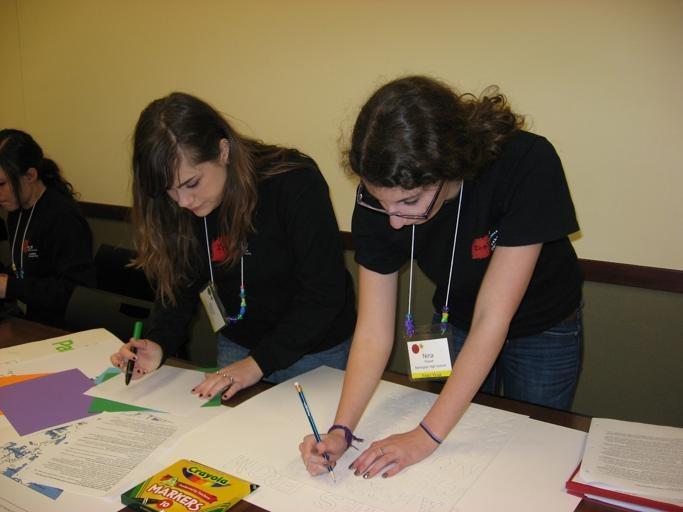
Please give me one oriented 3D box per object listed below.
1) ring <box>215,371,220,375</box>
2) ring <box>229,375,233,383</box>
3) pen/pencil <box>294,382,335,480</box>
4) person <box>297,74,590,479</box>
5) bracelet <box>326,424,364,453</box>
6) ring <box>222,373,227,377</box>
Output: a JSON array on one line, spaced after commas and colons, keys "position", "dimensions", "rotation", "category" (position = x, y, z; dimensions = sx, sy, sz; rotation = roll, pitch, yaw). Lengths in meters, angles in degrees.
[{"position": [-0.378, 0.352, 1.496], "dimensions": [0.013, 0.013, 0.008], "rotation": [-17, 49, -29], "category": "ring"}, {"position": [-0.328, 0.363, 1.459], "dimensions": [0.016, 0.016, 0.006], "rotation": [12, -30, -40], "category": "ring"}, {"position": [-0.072, 0.453, 1.264], "dimensions": [0.018, 0.236, 0.017], "rotation": [-33, -29, 14], "category": "pen/pencil"}, {"position": [0.274, 0.020, 1.358], "dimensions": [0.947, 0.969, 0.479], "rotation": [-9, 20, -25], "category": "person"}, {"position": [0.011, 0.457, 1.253], "dimensions": [0.075, 0.024, 0.058], "rotation": [27, -3, 40], "category": "bracelet"}, {"position": [-0.345, 0.349, 1.462], "dimensions": [0.009, 0.004, 0.012], "rotation": [1, 16, -28], "category": "ring"}]
